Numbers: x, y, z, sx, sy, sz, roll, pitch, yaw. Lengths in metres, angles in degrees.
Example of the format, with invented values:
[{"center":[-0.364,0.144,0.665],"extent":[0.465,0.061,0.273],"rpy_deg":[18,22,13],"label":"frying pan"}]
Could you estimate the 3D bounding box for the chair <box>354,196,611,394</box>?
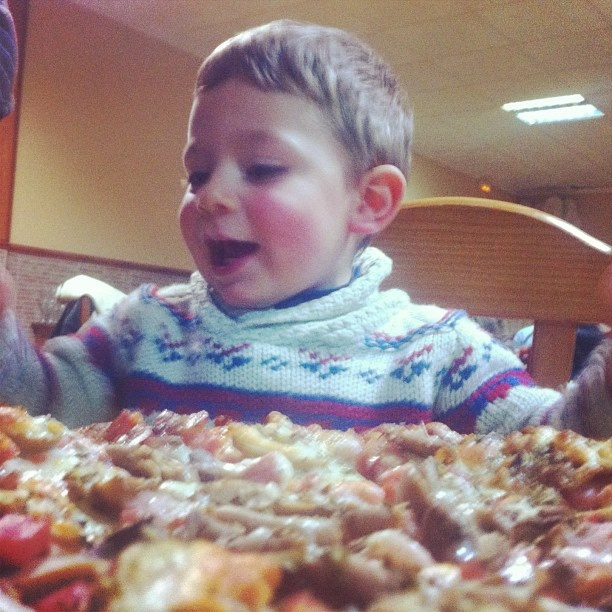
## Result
[{"center":[0.150,-0.032,0.786],"extent":[0.233,0.278,0.200],"rpy_deg":[9,19,3],"label":"chair"}]
